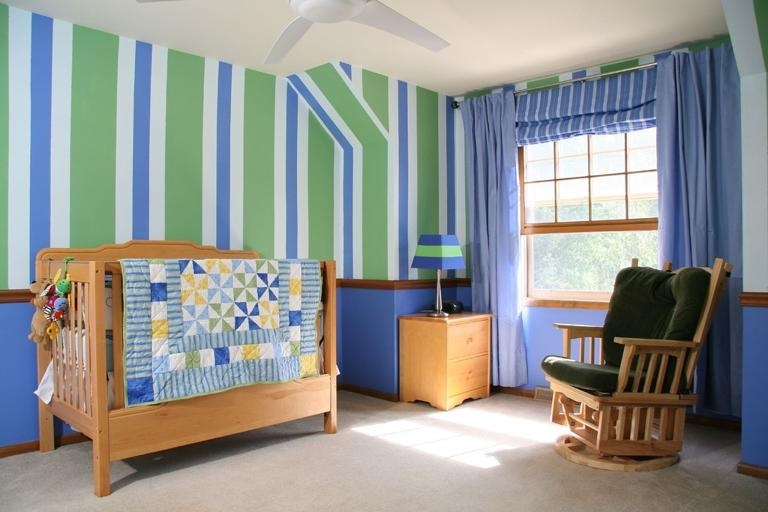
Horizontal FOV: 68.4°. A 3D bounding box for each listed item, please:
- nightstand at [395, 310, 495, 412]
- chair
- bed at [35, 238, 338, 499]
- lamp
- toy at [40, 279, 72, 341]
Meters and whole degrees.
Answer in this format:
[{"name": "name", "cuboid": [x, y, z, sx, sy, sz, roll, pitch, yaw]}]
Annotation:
[{"name": "nightstand", "cuboid": [0.562, 0.960, 5.348, 0.582, 0.733, 0.794, -2, -3, 39]}, {"name": "chair", "cuboid": [1.774, 0.777, 4.238, 1.014, 1.421, 0.999, 0, 1, -13]}, {"name": "bed", "cuboid": [-1.428, 0.687, 4.372, 1.963, 1.499, 1.190, -2, -3, -35]}, {"name": "lamp", "cuboid": [0.446, 0.168, 5.210, 0.463, 0.745, 0.509, -6, 11, -29]}, {"name": "toy", "cuboid": [-2.253, 0.373, 3.860, 0.277, 0.404, 0.132, -5, -8, 40]}]
